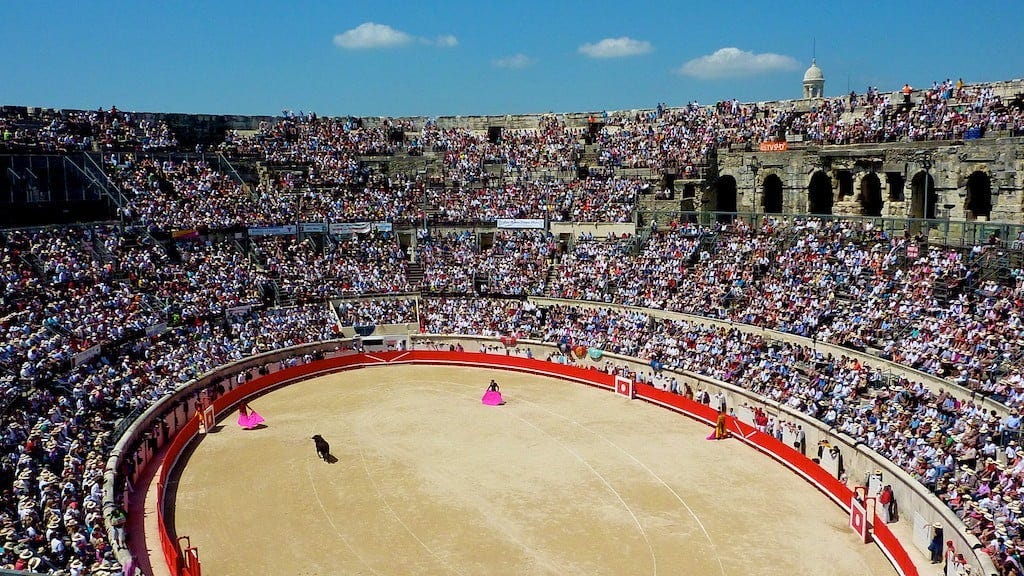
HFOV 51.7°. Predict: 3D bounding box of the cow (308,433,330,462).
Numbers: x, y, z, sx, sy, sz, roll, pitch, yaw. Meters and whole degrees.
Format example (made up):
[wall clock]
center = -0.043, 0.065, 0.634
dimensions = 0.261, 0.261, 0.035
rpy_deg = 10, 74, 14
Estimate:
[cow]
center = -13.921, 11.517, 76.440
dimensions = 0.867, 2.466, 1.020
rpy_deg = 0, 35, 16
